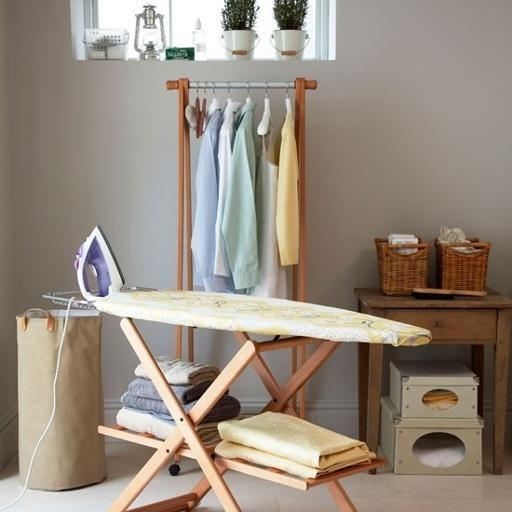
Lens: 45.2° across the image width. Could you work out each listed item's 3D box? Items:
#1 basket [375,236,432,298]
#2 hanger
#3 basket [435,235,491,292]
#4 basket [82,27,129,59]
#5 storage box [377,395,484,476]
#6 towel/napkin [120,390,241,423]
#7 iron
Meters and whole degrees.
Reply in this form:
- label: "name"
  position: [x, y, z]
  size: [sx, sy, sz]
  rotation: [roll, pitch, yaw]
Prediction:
- label: "basket"
  position: [0.636, 0.050, 2.648]
  size: [0.188, 0.189, 0.237]
  rotation: [0, -2, 0]
- label: "hanger"
  position: [-0.049, -0.640, 2.700]
  size: [0.502, 0.253, 0.142]
  rotation: [3, 11, 4]
- label: "basket"
  position: [0.906, 0.032, 2.722]
  size: [0.217, 0.203, 0.252]
  rotation: [1, 9, 10]
- label: "basket"
  position: [-0.699, -1.006, 2.911]
  size: [0.194, 0.139, 0.139]
  rotation: [0, 3, -3]
- label: "storage box"
  position: [0.753, 0.765, 2.703]
  size: [0.269, 0.284, 0.397]
  rotation: [1, 6, -2]
- label: "towel/napkin"
  position: [-0.261, 0.499, 2.198]
  size: [0.335, 0.108, 0.290]
  rotation: [1, -1, -31]
- label: "iron"
  position: [-0.576, 0.028, 2.273]
  size: [0.157, 0.271, 0.064]
  rotation: [-9, 0, -16]
